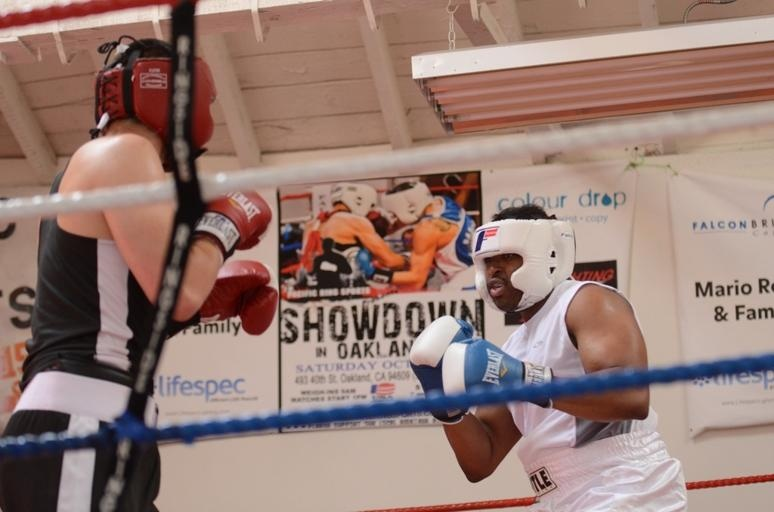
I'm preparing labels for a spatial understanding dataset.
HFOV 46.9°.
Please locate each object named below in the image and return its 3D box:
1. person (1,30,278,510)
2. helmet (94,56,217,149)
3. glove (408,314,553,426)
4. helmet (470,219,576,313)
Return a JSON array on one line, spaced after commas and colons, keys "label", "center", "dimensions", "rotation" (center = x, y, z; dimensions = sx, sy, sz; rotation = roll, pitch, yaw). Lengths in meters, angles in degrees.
[{"label": "person", "center": [-0.835, -0.011, 2.903], "dimensions": [0.818, 1.666, 0.476], "rotation": [-1, -10, -9]}, {"label": "helmet", "center": [-0.758, -0.453, 3.086], "dimensions": [0.429, 0.329, 0.355], "rotation": [-2, -8, -9]}, {"label": "glove", "center": [0.326, 0.489, 3.335], "dimensions": [0.413, 0.204, 0.417], "rotation": [20, 10, -12]}, {"label": "helmet", "center": [0.547, 0.077, 3.707], "dimensions": [0.409, 0.387, 0.321], "rotation": [13, -22, -23]}]
